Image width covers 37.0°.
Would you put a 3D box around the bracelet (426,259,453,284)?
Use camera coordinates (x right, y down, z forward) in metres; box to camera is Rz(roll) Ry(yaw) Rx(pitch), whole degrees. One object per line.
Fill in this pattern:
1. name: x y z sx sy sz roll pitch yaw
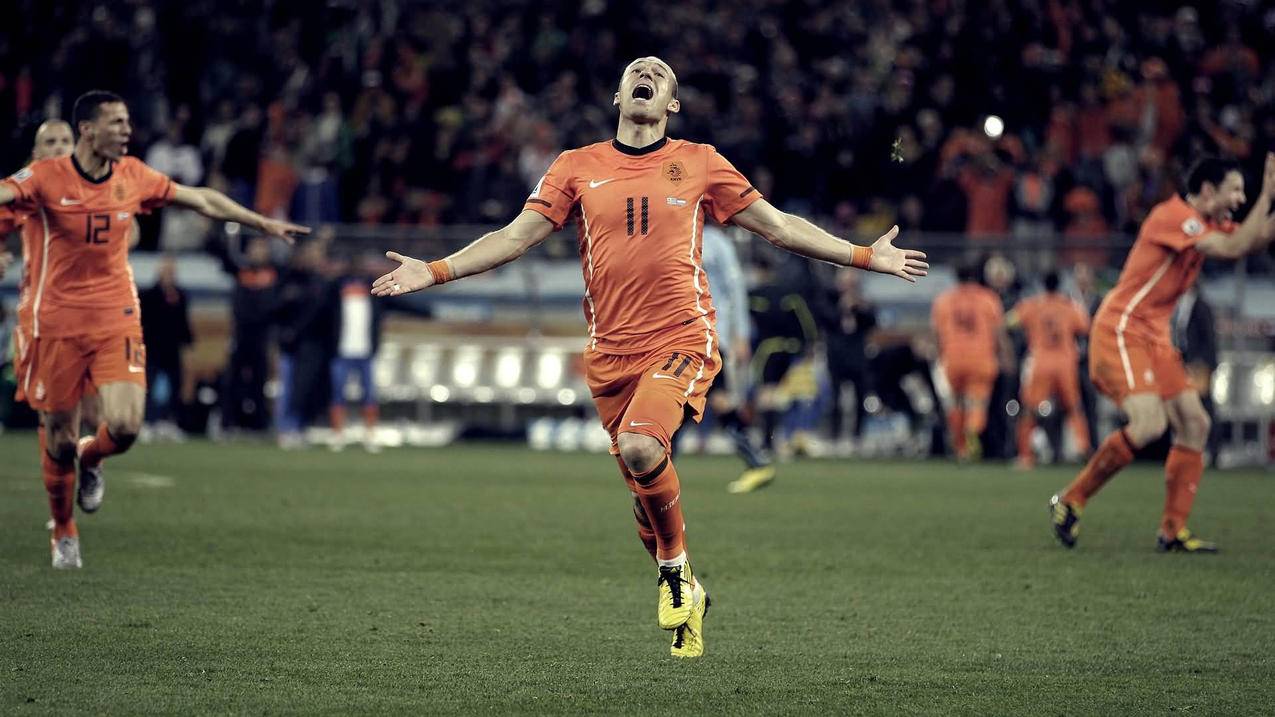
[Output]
1. bracelet: -1.753 -0.756 16.791 0.232 0.200 0.201 -12 14 4

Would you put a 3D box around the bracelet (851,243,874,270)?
1. bracelet: 2.005 -0.885 17.004 0.175 0.195 0.216 0 5 4

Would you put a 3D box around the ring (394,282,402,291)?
1. ring: -2.117 -0.616 16.625 0.086 0.069 0.019 -1 -3 -12

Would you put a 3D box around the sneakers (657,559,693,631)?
1. sneakers: 0.304 2.041 16.374 0.242 0.611 0.263 -7 -48 9

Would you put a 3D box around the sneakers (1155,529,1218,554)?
1. sneakers: 5.456 1.831 19.027 0.655 0.229 0.227 -3 1 5
